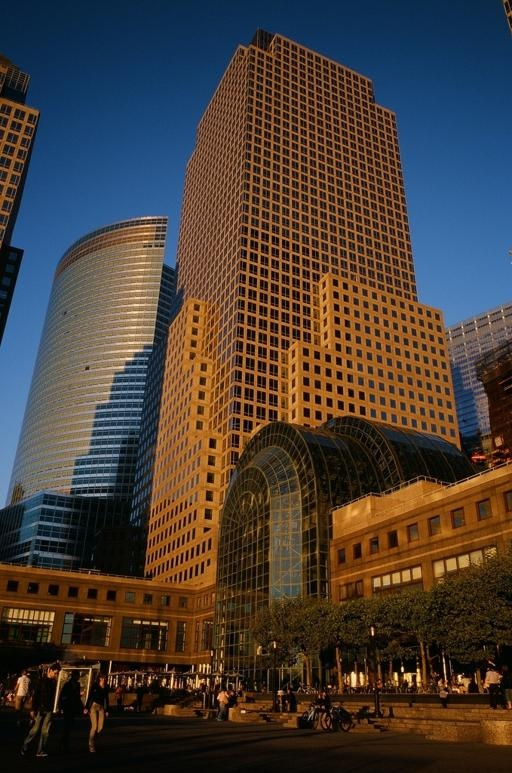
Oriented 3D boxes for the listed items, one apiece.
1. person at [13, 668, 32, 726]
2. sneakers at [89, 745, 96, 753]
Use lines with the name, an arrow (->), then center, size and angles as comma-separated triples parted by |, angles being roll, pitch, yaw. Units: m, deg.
person -> -10.259, 13.519, 26.069 | 0.560, 2.133, 0.628 | -19, -37, 19
sneakers -> -3.993, 8.901, 14.587 | 0.095, 0.202, 0.281 | 26, -38, -32
